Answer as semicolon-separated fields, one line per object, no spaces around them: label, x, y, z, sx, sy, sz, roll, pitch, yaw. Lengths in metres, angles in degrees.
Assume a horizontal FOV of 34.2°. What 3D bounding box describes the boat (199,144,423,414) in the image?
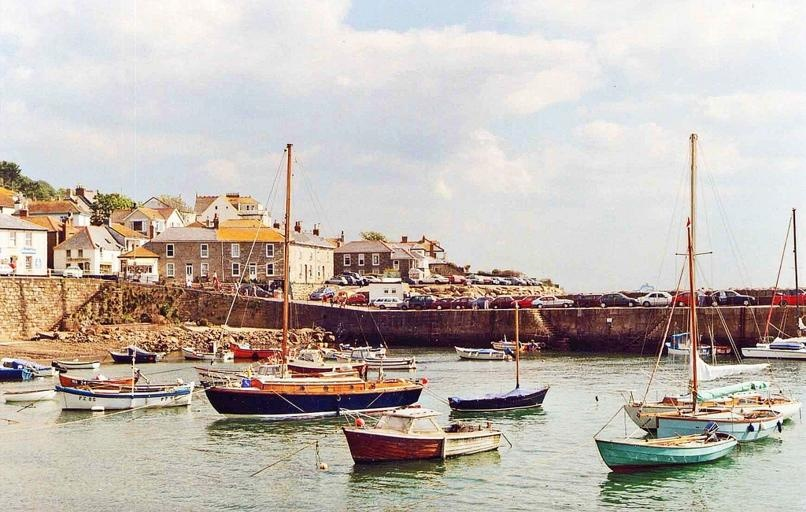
boat;-10.592;6.159;135.544;12.019;21.152;18.276;-5;-1;28

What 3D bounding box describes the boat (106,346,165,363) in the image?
boat;-26.486;9.678;128.764;4.627;1.500;2.442;1;-3;-7

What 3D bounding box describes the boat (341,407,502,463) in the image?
boat;0.771;13.126;96.385;10.519;3.899;1.492;-1;-5;-6

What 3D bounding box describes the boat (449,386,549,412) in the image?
boat;7.699;11.685;107.042;7.778;1.857;0.915;0;-5;-11
